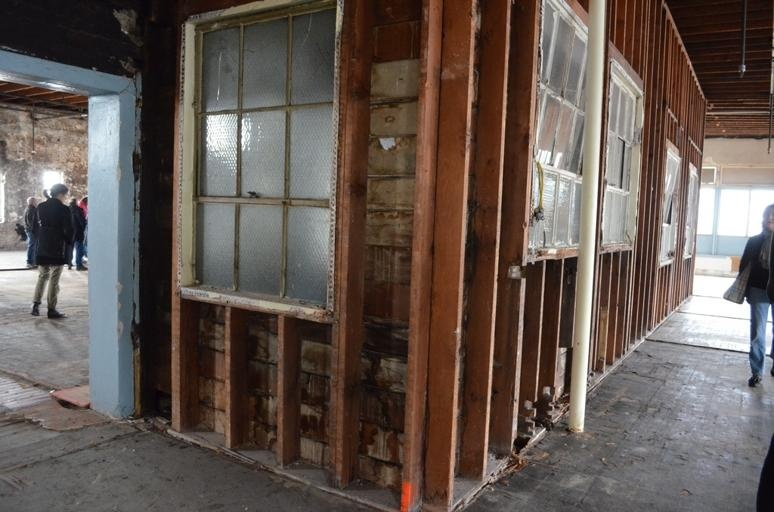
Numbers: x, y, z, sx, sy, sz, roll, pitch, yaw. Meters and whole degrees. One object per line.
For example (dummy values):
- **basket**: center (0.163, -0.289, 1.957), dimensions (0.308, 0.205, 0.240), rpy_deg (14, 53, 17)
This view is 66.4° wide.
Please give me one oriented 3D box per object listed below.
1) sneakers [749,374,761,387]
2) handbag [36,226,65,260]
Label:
- **sneakers**: center (3.977, 1.352, 6.355), dimensions (0.073, 0.098, 0.220), rpy_deg (-2, -9, 42)
- **handbag**: center (-4.597, -0.146, 8.096), dimensions (0.324, 0.449, 0.419), rpy_deg (-3, 7, -43)
